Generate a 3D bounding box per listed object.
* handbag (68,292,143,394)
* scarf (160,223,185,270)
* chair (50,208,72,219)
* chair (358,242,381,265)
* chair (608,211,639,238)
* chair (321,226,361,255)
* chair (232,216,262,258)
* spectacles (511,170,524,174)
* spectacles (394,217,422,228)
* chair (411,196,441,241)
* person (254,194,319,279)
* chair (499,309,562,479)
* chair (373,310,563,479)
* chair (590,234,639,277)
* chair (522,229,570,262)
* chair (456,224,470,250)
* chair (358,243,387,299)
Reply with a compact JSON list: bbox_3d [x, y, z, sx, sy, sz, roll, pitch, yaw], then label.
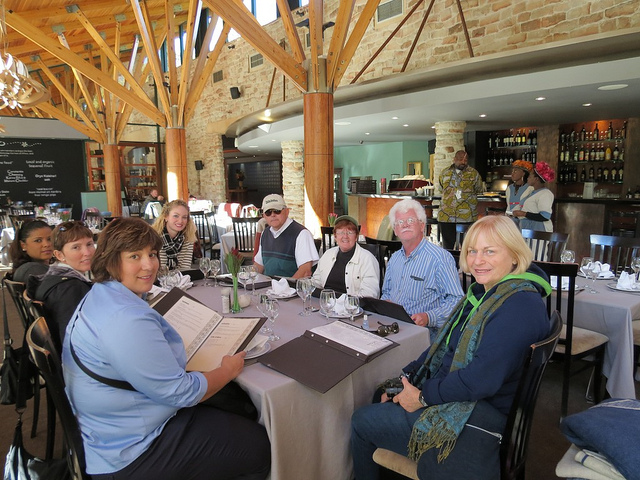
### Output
[{"bbox_3d":[-0.890,0.433,1.688,0.315,0.406,0.115,-1,6,27],"label":"handbag"},{"bbox_3d":[-1.370,0.065,3.855,0.241,0.342,0.097,4,0,-41],"label":"scarf"},{"bbox_3d":[-5.100,-0.517,8.174,0.296,0.226,0.302,-1,6,-3],"label":"chair"},{"bbox_3d":[0.410,0.109,3.396,0.133,0.180,0.144,7,12,34],"label":"chair"},{"bbox_3d":[4.912,-0.274,6.746,0.345,0.512,0.484,-9,14,-39],"label":"chair"},{"bbox_3d":[0.185,0.040,4.692,0.349,0.470,0.318,3,8,25],"label":"chair"},{"bbox_3d":[-0.929,-0.023,5.300,0.386,0.691,0.417,2,27,-1],"label":"chair"},{"bbox_3d":[2.664,-0.913,5.601,0.115,0.051,0.024,-2,5,26],"label":"spectacles"},{"bbox_3d":[0.596,-0.118,2.804,0.176,0.064,0.069,-3,5,12],"label":"spectacles"},{"bbox_3d":[1.828,-0.413,7.150,0.510,0.727,1.874,-2,4,15],"label":"chair"},{"bbox_3d":[-0.384,0.054,3.863,0.676,0.930,0.517,-5,1,20],"label":"person"},{"bbox_3d":[0.942,0.790,1.842,0.229,0.844,0.409,0,6,31],"label":"chair"},{"bbox_3d":[0.837,0.628,2.269,0.799,1.289,0.722,4,7,35],"label":"chair"},{"bbox_3d":[2.686,0.148,3.786,0.272,0.414,0.314,-11,15,-36],"label":"chair"},{"bbox_3d":[2.067,0.054,3.804,0.236,0.416,0.264,11,22,34],"label":"chair"},{"bbox_3d":[1.608,-0.046,4.694,0.126,0.252,0.405,-2,5,19],"label":"chair"},{"bbox_3d":[0.452,0.234,3.453,0.208,0.427,0.686,-3,4,8],"label":"chair"}]
